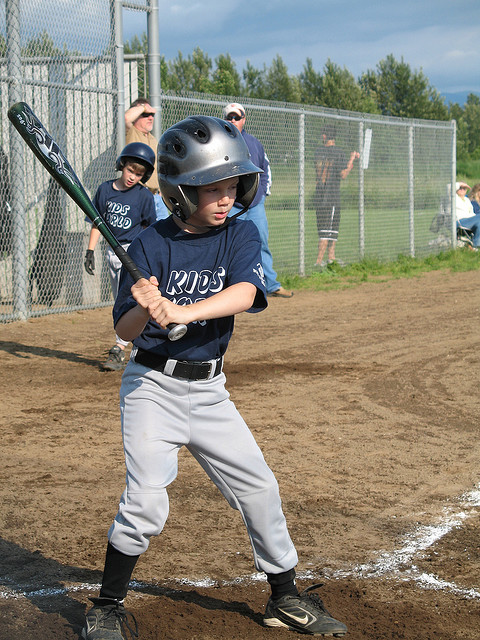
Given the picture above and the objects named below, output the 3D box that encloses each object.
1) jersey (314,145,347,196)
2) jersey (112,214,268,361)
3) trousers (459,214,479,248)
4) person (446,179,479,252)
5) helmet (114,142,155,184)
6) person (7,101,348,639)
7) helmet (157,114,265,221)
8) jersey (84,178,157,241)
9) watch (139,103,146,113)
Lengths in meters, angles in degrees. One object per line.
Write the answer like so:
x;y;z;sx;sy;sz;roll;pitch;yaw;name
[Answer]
1.189;-2.066;11.212;0.114;0.961;0.751;5;8;44;jersey
-0.136;-0.101;2.500;0.441;0.421;0.286;-2;17;-11;jersey
3.992;-1.557;14.423;0.490;0.484;0.177;16;17;33;trousers
3.913;-1.904;14.651;0.570;1.168;0.919;3;12;13;person
-0.679;-1.068;5.342;0.266;0.207;0.214;1;20;-30;helmet
-0.156;0.169;2.567;0.826;1.580;0.717;-3;12;-17;person
-0.098;-0.471;2.502;0.335;0.288;0.321;4;26;15;helmet
-0.770;-0.724;5.563;0.526;0.430;0.210;9;26;1;jersey
-0.865;-1.889;7.291;0.063;0.062;0.042;43;20;-5;watch
